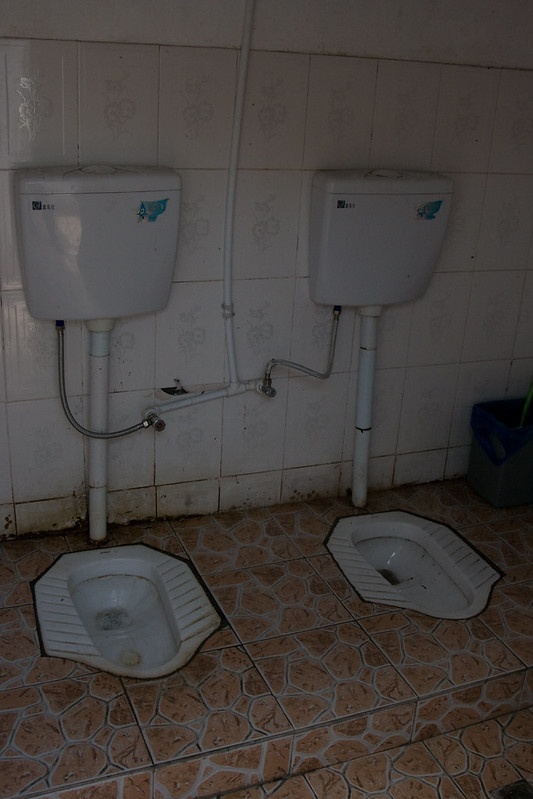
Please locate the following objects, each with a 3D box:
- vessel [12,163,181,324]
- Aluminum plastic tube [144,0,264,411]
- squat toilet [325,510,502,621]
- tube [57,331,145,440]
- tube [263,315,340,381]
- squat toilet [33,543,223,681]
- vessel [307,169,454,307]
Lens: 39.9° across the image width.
[{"bbox_3d":[-0.401,-0.371,1.694,0.361,0.296,0.186,-6,38,-20],"label":"vessel"},{"bbox_3d":[-0.160,-0.439,1.926,0.358,1.095,0.120,-16,34,-33],"label":"Aluminum plastic tube"},{"bbox_3d":[0.427,0.510,2.187,0.465,0.112,0.533,-5,27,-16],"label":"squat toilet"},{"bbox_3d":[-0.444,-0.036,1.979,0.228,0.388,0.118,-5,29,-15],"label":"tube"},{"bbox_3d":[0.110,-0.163,2.266,0.233,0.312,0.032,17,27,23],"label":"tube"},{"bbox_3d":[-0.362,0.558,1.896,0.443,0.103,0.527,-7,27,-20],"label":"squat toilet"},{"bbox_3d":[0.290,-0.461,2.067,0.418,0.362,0.215,-8,28,-26],"label":"vessel"}]
